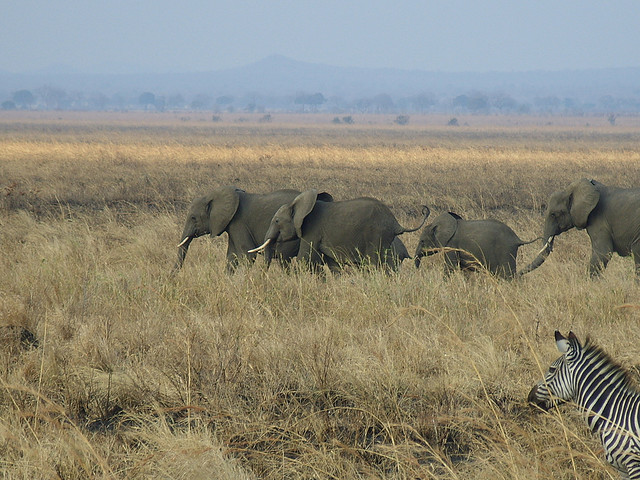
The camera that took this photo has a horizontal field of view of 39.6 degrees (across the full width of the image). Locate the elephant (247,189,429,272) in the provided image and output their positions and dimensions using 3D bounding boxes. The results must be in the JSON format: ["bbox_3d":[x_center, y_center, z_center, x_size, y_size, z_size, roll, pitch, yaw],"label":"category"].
[{"bbox_3d":[0.218,0.104,13.794,2.500,1.729,1.227,2,-10,0],"label":"elephant"}]

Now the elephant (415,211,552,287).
[{"bbox_3d":[2.487,0.191,13.895,2.270,1.285,0.922,7,16,28],"label":"elephant"}]

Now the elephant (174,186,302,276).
[{"bbox_3d":[-1.211,-0.160,14.227,2.215,1.595,1.099,-2,11,-3],"label":"elephant"}]
